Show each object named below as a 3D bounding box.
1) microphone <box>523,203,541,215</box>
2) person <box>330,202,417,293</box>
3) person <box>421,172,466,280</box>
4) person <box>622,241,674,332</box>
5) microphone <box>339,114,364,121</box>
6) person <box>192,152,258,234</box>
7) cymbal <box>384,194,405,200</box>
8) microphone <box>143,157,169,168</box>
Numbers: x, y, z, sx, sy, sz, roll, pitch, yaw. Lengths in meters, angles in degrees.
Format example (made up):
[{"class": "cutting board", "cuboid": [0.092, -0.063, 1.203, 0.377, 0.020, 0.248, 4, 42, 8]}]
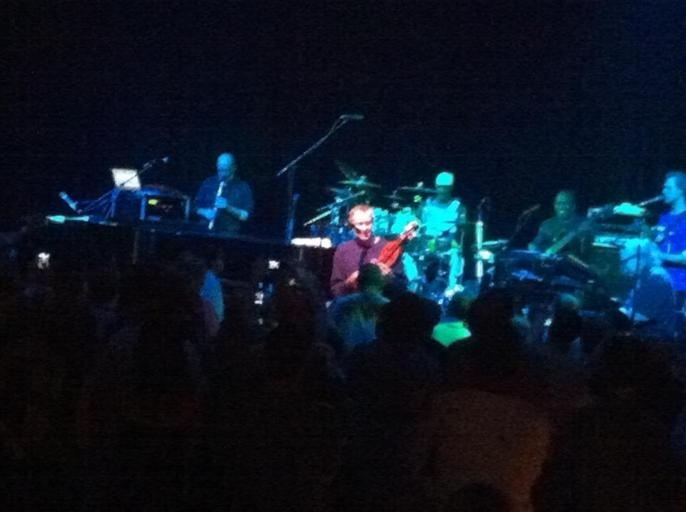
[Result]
[{"class": "microphone", "cuboid": [2.469, -0.607, 7.138, 0.140, 0.022, 0.474, 16, 20, 35]}, {"class": "person", "cuboid": [0.242, 0.010, 6.263, 0.765, 1.107, 0.338, 2, -34, 8]}, {"class": "person", "cuboid": [1.439, -0.394, 7.982, 0.685, 1.701, 0.773, 7, 1, 6]}, {"class": "person", "cuboid": [3.356, 0.290, 6.058, 0.331, 1.273, 0.802, 0, -12, 11]}, {"class": "microphone", "cuboid": [0.101, -1.435, 5.719, 0.162, 0.042, 0.165, -8, -1, -5]}, {"class": "person", "cuboid": [-1.417, -0.771, 6.622, 0.727, 0.939, 0.674, 7, 1, -12]}, {"class": "cymbal", "cuboid": [0.819, -0.927, 8.551, 0.274, 0.099, 0.321, 6, 0, 5]}, {"class": "microphone", "cuboid": [-1.744, -0.868, 5.094, 0.184, 0.044, 0.176, -12, 0, -34]}]
